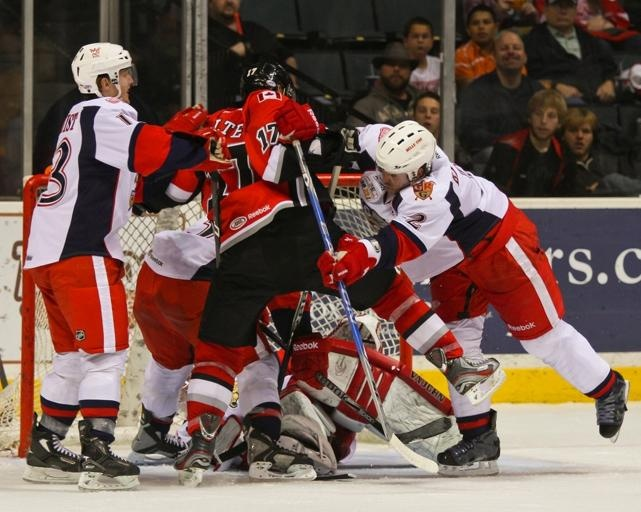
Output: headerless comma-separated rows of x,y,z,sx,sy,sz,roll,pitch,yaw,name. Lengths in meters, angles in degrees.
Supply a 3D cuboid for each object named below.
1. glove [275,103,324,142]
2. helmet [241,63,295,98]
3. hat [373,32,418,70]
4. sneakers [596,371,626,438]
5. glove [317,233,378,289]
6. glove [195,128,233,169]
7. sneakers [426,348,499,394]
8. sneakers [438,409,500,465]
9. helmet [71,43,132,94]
-0.104,-0.587,4.646,0.160,0.182,0.095,0,6,-34,glove
-0.243,-0.816,4.833,0.213,0.146,0.174,6,35,-24,helmet
0.477,-1.342,6.854,0.287,0.112,0.302,1,-1,4,hat
1.407,0.740,5.191,0.170,0.338,0.121,8,-4,-30,sneakers
0.105,0.021,4.568,0.259,0.111,0.183,-33,44,-13,glove
-0.472,-0.468,4.644,0.189,0.161,0.072,-19,10,-20,glove
0.676,0.490,4.872,0.342,0.223,0.108,-25,4,-37,sneakers
0.690,0.876,4.982,0.359,0.242,0.114,-6,6,-28,sneakers
-0.994,-0.868,4.911,0.314,0.234,0.209,-8,17,0,helmet
